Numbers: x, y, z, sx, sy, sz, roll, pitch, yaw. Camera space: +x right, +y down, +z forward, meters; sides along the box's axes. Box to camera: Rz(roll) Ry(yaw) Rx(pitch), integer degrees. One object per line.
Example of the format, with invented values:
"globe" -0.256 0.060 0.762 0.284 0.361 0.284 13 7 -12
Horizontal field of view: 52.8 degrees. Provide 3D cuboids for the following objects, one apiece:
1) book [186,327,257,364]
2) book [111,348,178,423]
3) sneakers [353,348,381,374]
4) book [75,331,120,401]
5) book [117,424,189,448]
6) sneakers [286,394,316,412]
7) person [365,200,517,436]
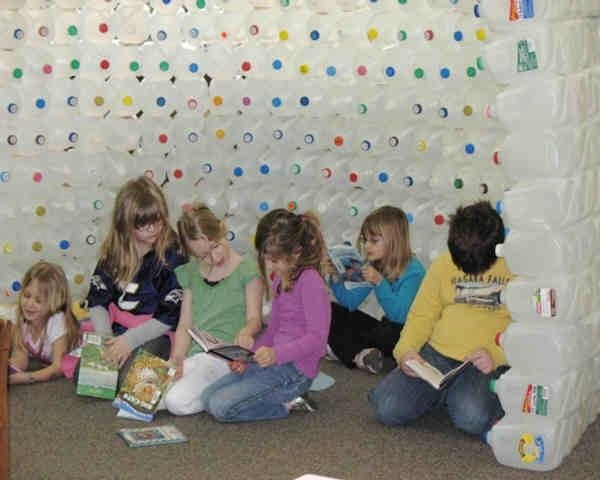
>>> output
"book" -0.302 0.423 2.282 0.253 0.128 0.173 1 10 -1
"book" -0.612 0.578 2.411 0.189 0.273 0.082 23 -20 14
"sneakers" 0.325 0.570 2.861 0.048 0.089 0.139 18 -14 26
"book" -0.849 0.543 2.547 0.230 0.340 0.037 5 -5 -4
"book" -0.539 0.715 2.221 0.249 0.028 0.207 -2 9 -28
"sneakers" 0.014 0.663 2.474 0.137 0.064 0.052 7 -3 -1
"person" 0.562 0.332 2.415 0.490 0.751 0.555 21 41 33
